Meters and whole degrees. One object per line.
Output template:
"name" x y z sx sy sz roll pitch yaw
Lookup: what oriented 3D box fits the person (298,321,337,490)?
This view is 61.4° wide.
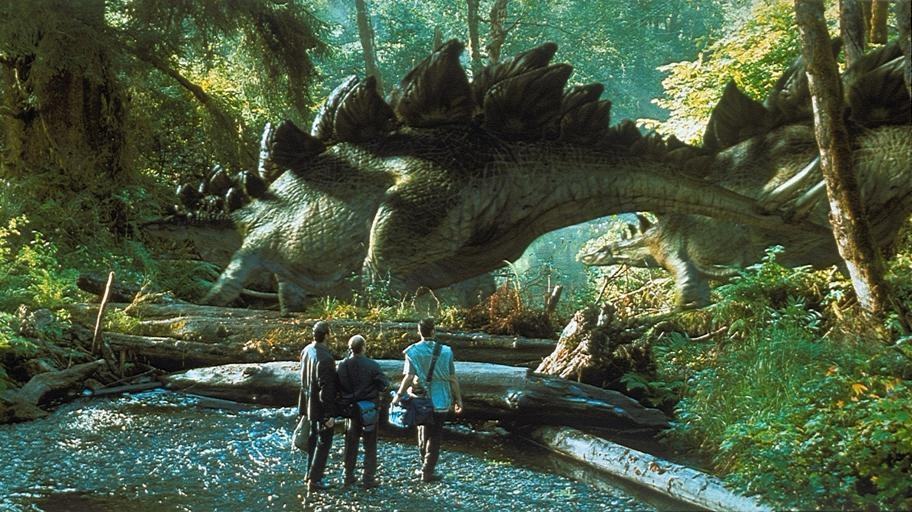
"person" -2.324 2.508 12.991 0.702 2.387 0.345 11 3 42

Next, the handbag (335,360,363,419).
"handbag" -1.823 2.238 12.897 0.318 0.757 0.593 1 -10 -10

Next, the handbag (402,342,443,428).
"handbag" -0.489 2.193 13.187 0.695 1.420 0.434 4 -10 -26
